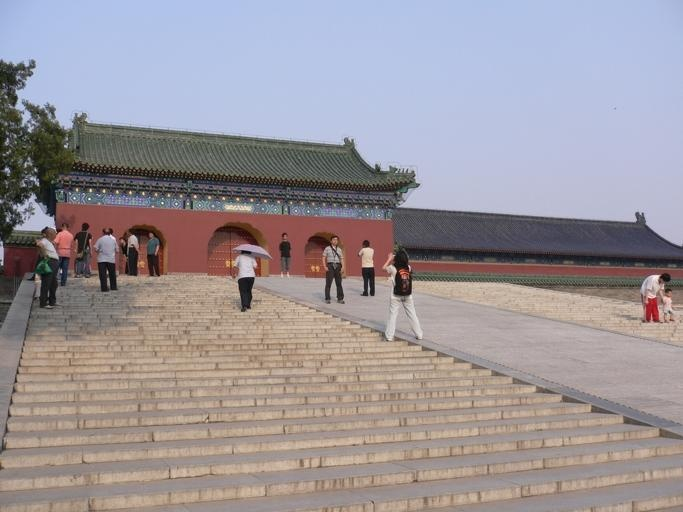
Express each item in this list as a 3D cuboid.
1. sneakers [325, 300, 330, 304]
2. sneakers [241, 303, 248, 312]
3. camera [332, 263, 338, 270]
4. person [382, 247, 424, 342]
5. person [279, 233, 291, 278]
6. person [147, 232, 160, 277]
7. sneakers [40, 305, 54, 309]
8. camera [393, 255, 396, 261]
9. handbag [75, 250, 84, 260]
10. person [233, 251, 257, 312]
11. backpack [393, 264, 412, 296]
[{"bbox_3d":[-0.295,1.007,16.432,0.078,0.102,0.145,0,1,-2],"label":"sneakers"},{"bbox_3d":[-1.872,1.004,14.290,0.123,0.127,0.124,7,-9,-32],"label":"sneakers"},{"bbox_3d":[-0.147,0.224,16.475,0.126,0.160,0.045,-2,-15,-3],"label":"camera"},{"bbox_3d":[1.072,0.665,12.780,0.734,1.564,0.837,5,9,4],"label":"person"},{"bbox_3d":[-1.762,-0.023,22.954,0.351,1.410,0.800,3,9,-6],"label":"person"},{"bbox_3d":[-5.069,-0.065,19.872,0.289,1.145,1.053,1,10,-17],"label":"person"},{"bbox_3d":[-5.339,0.898,13.405,0.193,0.062,0.186,9,11,27],"label":"sneakers"},{"bbox_3d":[0.948,0.015,13.035,0.037,0.067,0.068,-5,7,-23],"label":"camera"},{"bbox_3d":[-6.493,-0.033,18.265,0.198,0.191,0.198,15,-11,-30],"label":"handbag"},{"bbox_3d":[-1.931,0.480,14.671,0.419,1.214,1.212,3,10,-8],"label":"person"},{"bbox_3d":[1.043,0.416,12.488,0.355,0.494,0.300,1,10,-19],"label":"backpack"}]
